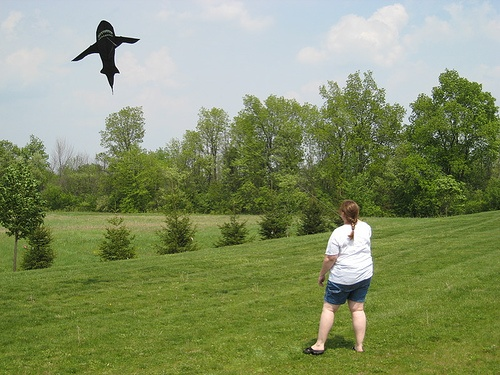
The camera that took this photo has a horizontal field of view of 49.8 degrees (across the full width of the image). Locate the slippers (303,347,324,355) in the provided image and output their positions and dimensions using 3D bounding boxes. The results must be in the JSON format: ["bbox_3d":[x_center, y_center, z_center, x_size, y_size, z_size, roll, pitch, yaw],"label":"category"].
[{"bbox_3d":[1.754,4.458,14.640,0.394,0.125,0.227,3,-9,15],"label":"slippers"}]

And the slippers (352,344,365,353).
[{"bbox_3d":[2.952,4.355,14.595,0.238,0.158,0.594,1,-3,3],"label":"slippers"}]

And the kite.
[{"bbox_3d":[-4.228,-3.964,16.055,1.466,1.965,0.391,-7,14,-11],"label":"kite"}]

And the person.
[{"bbox_3d":[2.494,2.418,14.444,1.581,4.080,1.003,-2,14,7],"label":"person"}]
